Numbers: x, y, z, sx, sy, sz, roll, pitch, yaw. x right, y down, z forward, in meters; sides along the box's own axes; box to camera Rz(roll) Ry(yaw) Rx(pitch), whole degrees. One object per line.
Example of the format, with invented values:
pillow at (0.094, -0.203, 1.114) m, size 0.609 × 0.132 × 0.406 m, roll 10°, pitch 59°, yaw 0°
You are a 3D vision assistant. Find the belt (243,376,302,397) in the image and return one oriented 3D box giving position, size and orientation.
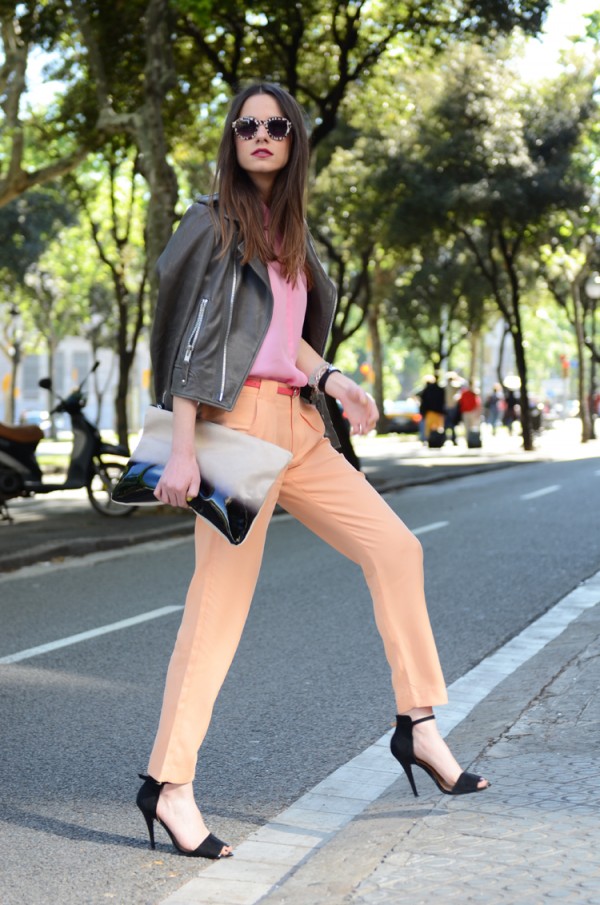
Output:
belt at (-0.068, -0.163, 2.139) m, size 0.034 × 0.035 × 0.165 m, roll -6°, pitch -3°, yaw 42°

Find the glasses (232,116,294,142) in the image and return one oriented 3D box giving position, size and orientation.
glasses at (-0.092, -0.827, 2.193) m, size 0.093 × 0.035 × 0.087 m, roll 0°, pitch -2°, yaw -4°

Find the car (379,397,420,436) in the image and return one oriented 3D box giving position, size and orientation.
car at (5.599, -2.035, 48.311) m, size 1.844 × 1.249 × 3.844 m, roll 1°, pitch 5°, yaw 9°

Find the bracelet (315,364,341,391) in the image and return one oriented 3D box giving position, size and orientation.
bracelet at (0.075, -0.199, 2.294) m, size 0.026 × 0.064 × 0.058 m, roll 27°, pitch 9°, yaw 22°

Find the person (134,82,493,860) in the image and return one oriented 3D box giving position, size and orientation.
person at (-0.054, -0.010, 2.242) m, size 0.795 × 1.438 × 0.395 m, roll -3°, pitch -2°, yaw -38°
